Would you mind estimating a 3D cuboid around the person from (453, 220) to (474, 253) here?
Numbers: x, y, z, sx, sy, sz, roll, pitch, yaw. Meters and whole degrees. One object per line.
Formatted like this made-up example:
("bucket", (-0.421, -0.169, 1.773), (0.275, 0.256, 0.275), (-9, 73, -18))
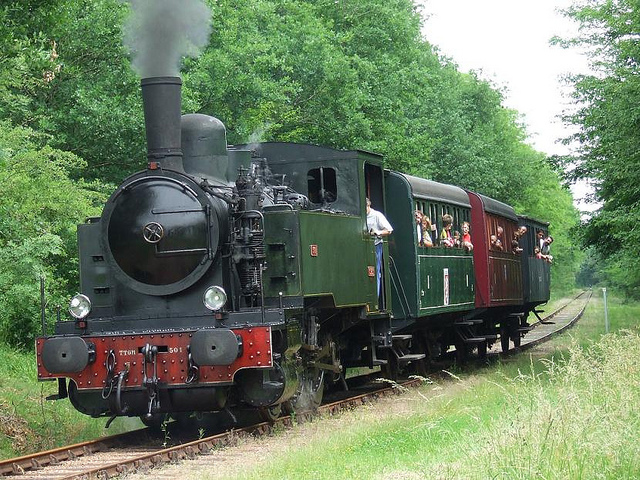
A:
("person", (3.990, -0.105, 16.183), (0.550, 0.989, 0.395), (-3, 3, 0))
